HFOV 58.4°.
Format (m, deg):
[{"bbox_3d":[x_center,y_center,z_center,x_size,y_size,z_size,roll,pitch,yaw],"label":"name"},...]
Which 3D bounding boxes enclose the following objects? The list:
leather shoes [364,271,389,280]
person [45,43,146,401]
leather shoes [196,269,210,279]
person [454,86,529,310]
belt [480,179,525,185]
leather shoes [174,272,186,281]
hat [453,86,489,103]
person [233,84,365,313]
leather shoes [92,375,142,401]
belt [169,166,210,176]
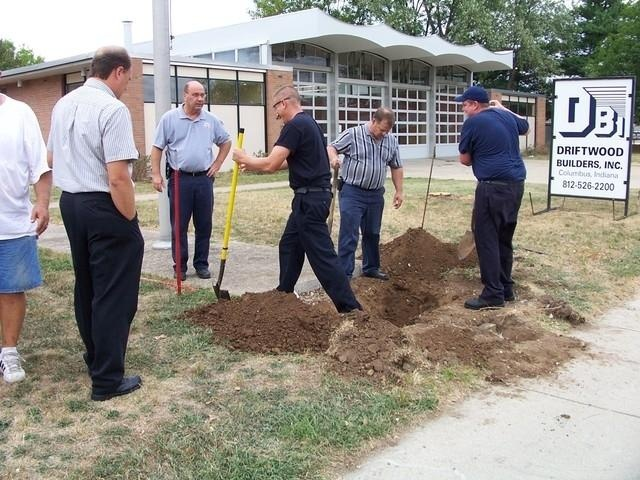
[{"bbox_3d":[0.695,0.436,7.122,0.321,0.136,0.110,1,6,10],"label":"leather shoes"},{"bbox_3d":[-1.624,-0.130,4.221,0.554,2.498,0.698,-6,16,-25],"label":"person"},{"bbox_3d":[-1.432,0.401,6.977,0.088,0.081,0.205,-4,5,-38],"label":"leather shoes"},{"bbox_3d":[1.849,-0.362,6.153,0.691,2.035,0.935,3,15,6],"label":"person"},{"bbox_3d":[1.956,-0.619,6.090,0.476,0.066,0.167,1,15,-1],"label":"belt"},{"bbox_3d":[-1.692,0.434,6.870,0.071,0.084,0.196,1,-3,7],"label":"leather shoes"},{"bbox_3d":[1.671,-1.595,6.313,0.346,0.173,0.227,6,19,17],"label":"hat"},{"bbox_3d":[-0.143,-0.354,5.344,1.161,2.082,0.762,12,18,35],"label":"person"},{"bbox_3d":[-1.537,1.097,4.301,0.327,0.141,0.133,-16,25,-42],"label":"leather shoes"},{"bbox_3d":[-1.597,-0.834,6.896,0.497,0.138,0.276,-3,16,-16],"label":"belt"}]
